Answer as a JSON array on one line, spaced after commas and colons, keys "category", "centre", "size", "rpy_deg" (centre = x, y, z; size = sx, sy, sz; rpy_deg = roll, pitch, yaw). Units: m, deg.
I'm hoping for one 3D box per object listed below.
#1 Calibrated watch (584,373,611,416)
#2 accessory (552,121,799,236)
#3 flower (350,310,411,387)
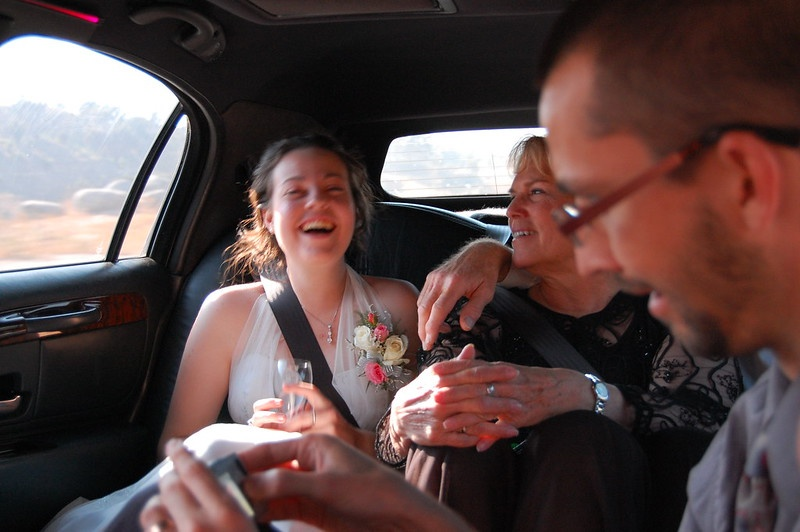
[{"category": "Calibrated watch", "centre": [0.699, 0.443, 1.893], "size": [0.041, 0.115, 0.119], "rpy_deg": [-19, 28, 27]}, {"category": "accessory", "centre": [0.444, -0.138, 0.871], "size": [0.341, 0.190, 0.037], "rpy_deg": [5, 0, 15]}, {"category": "flower", "centre": [-0.103, 0.425, 2.718], "size": [0.374, 0.336, 0.210], "rpy_deg": [20, 1, 11]}]
